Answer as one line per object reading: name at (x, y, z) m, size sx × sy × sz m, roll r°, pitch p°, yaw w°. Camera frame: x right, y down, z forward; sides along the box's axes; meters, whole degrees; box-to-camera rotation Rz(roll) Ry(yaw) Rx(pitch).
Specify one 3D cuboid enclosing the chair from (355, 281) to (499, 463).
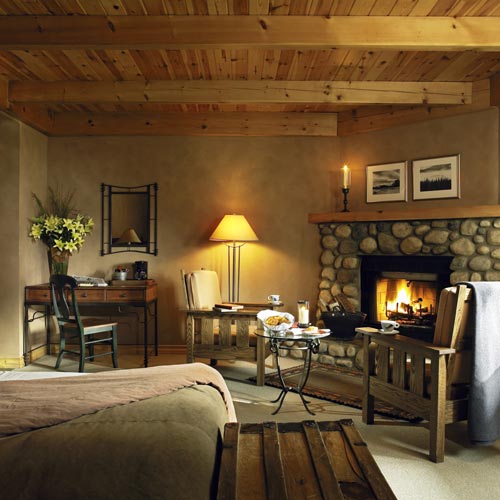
chair at (1.030, 0.636, 2.695) m, size 0.426 × 0.920 × 0.613 m, roll -1°, pitch 2°, yaw -25°

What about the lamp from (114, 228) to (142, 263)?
lamp at (-1.269, -0.117, 4.799) m, size 0.252 × 0.225 × 0.130 m, roll 0°, pitch 1°, yaw 2°

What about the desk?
desk at (-1.451, 0.733, 4.616) m, size 1.287 × 0.710 × 0.690 m, roll -1°, pitch -8°, yaw 14°

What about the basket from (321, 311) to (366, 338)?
basket at (0.861, 0.667, 4.223) m, size 0.490 × 0.260 × 0.251 m, roll -1°, pitch -9°, yaw 5°

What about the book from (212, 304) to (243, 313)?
book at (-0.178, 0.476, 3.787) m, size 0.236 × 0.059 × 0.181 m, roll 0°, pitch 1°, yaw -4°

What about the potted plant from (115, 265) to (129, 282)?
potted plant at (-1.297, 0.231, 4.687) m, size 0.127 × 0.146 × 0.173 m, roll 3°, pitch -6°, yaw -42°

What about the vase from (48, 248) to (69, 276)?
vase at (-1.838, 0.100, 4.446) m, size 0.184 × 0.259 × 0.104 m, roll -1°, pitch 2°, yaw -19°

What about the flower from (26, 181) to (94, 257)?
flower at (-1.884, -0.251, 4.531) m, size 0.610 × 0.463 × 0.477 m, roll 1°, pitch -6°, yaw 14°

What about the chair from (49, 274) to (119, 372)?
chair at (-1.525, 0.631, 4.242) m, size 0.545 × 0.870 × 1.140 m, roll -1°, pitch 1°, yaw -20°

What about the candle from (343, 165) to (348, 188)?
candle at (0.974, -0.744, 4.659) m, size 0.058 × 0.253 × 0.203 m, roll 0°, pitch 1°, yaw 13°

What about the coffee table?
coffee table at (0.283, 0.791, 3.292) m, size 0.724 × 0.604 × 0.640 m, roll 0°, pitch -5°, yaw 4°

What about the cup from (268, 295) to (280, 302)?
cup at (0.215, 0.415, 3.957) m, size 0.118 × 0.065 × 0.082 m, roll -1°, pitch -1°, yaw 9°

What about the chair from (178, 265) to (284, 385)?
chair at (-0.097, 0.625, 4.037) m, size 1.067 × 0.790 × 0.940 m, roll 1°, pitch 2°, yaw -30°
